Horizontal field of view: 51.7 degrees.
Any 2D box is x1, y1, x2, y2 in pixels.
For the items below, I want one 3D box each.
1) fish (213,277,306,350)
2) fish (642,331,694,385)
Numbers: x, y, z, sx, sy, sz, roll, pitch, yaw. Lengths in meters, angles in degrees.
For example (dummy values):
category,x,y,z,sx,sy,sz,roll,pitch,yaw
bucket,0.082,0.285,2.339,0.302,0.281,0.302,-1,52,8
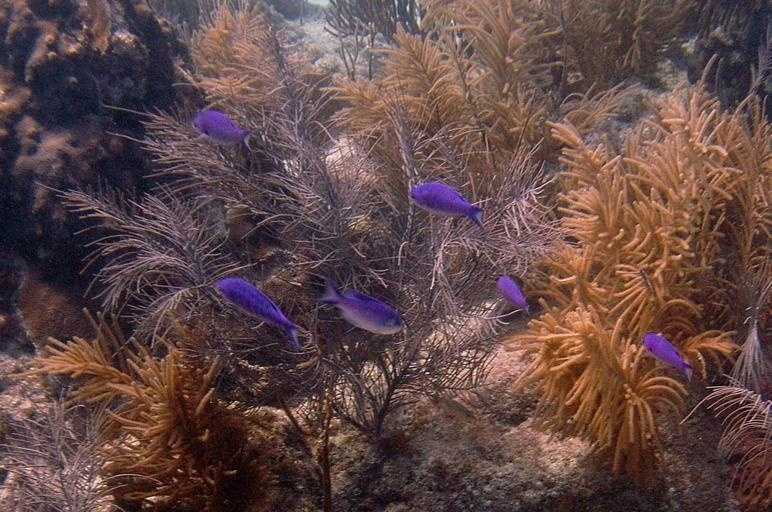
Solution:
category,x,y,z,sx,sy,sz,roll,pitch,yaw
fish,-0.997,0.404,6.327,0.725,0.436,0.192,18,51,32
fish,2.229,0.767,6.269,0.150,0.230,0.467,-30,51,-25
